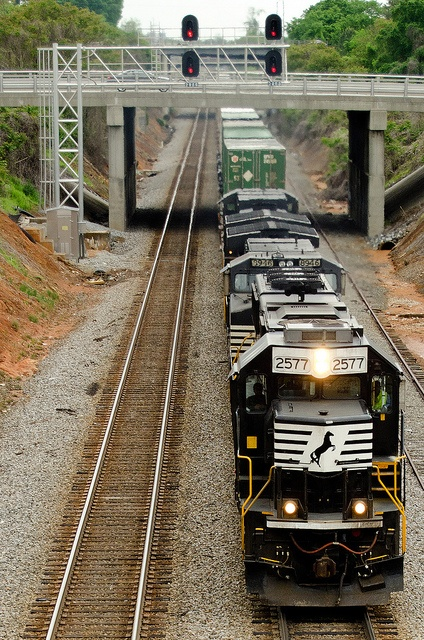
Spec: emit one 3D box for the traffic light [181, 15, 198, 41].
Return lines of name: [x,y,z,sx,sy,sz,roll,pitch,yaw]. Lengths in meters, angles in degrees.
traffic light: [-0.844,-10.779,27.321,0.564,0.829,0.642,-4,15,-2]

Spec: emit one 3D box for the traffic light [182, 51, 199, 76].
traffic light: [-0.903,-10.261,29.562,0.755,0.970,0.652,-8,16,-17]

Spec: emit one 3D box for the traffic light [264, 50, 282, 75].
traffic light: [2.338,-10.222,29.270,0.563,0.973,0.874,4,17,28]

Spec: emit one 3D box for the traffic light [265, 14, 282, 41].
traffic light: [2.182,-10.583,26.726,0.555,0.837,0.665,-2,15,5]
